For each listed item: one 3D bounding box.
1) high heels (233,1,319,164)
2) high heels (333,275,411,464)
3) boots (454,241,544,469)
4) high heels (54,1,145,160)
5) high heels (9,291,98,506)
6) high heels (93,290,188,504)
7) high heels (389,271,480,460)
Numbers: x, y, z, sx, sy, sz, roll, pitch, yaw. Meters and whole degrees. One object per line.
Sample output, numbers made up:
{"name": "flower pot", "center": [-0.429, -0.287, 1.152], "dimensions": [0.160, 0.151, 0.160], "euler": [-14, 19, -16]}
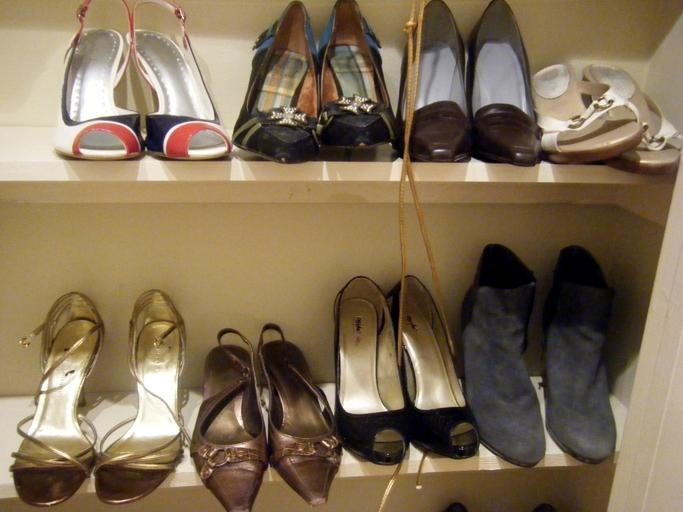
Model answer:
{"name": "high heels", "center": [-0.112, -0.322, 1.176], "dimensions": [0.133, 0.386, 0.147], "euler": [3, -30, -1]}
{"name": "high heels", "center": [0.061, 0.263, 1.301], "dimensions": [0.127, 0.413, 0.108], "euler": [-3, -33, -5]}
{"name": "boots", "center": [0.319, 0.187, 1.370], "dimensions": [0.138, 0.504, 0.215], "euler": [-3, -37, 2]}
{"name": "high heels", "center": [-0.457, -0.310, 1.200], "dimensions": [0.130, 0.427, 0.153], "euler": [0, -35, -15]}
{"name": "high heels", "center": [-0.609, 0.300, 1.310], "dimensions": [0.152, 0.494, 0.114], "euler": [2, -41, -19]}
{"name": "high heels", "center": [-0.429, 0.247, 1.311], "dimensions": [0.149, 0.485, 0.147], "euler": [2, -42, -14]}
{"name": "high heels", "center": [0.183, 0.245, 1.400], "dimensions": [0.129, 0.435, 0.170], "euler": [-8, -39, -9]}
